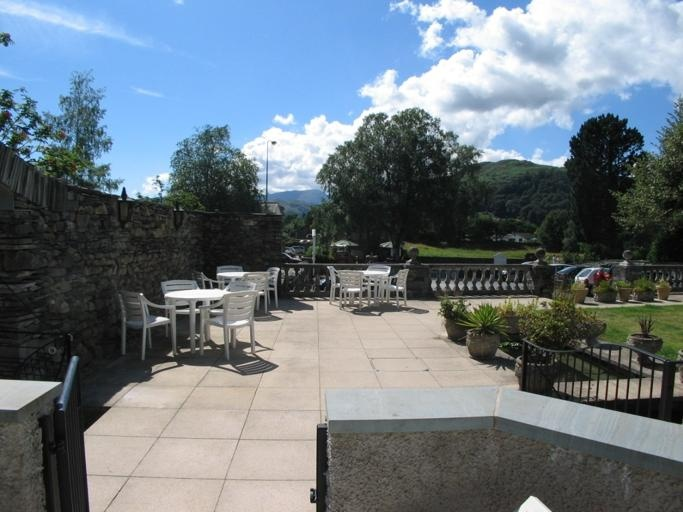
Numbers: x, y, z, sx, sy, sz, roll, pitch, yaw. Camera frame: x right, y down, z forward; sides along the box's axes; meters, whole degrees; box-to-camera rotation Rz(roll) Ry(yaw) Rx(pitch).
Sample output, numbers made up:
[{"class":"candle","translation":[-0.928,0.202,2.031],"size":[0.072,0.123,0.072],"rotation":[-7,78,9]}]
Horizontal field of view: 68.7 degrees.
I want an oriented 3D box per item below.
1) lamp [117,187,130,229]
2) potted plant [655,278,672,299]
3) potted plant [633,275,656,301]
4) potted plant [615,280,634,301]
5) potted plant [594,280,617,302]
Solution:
[{"class":"lamp","translation":[-3.504,-0.772,8.021],"size":[0.160,0.617,0.463],"rotation":[1,4,-21]},{"class":"potted plant","translation":[9.544,1.033,14.808],"size":[0.347,0.515,0.694],"rotation":[5,4,33]},{"class":"potted plant","translation":[8.794,0.921,14.433],"size":[0.591,0.694,0.636],"rotation":[1,9,34]},{"class":"potted plant","translation":[8.086,0.991,14.363],"size":[0.493,0.583,0.533],"rotation":[-1,5,7]},{"class":"potted plant","translation":[7.445,0.939,13.977],"size":[0.538,0.613,0.576],"rotation":[-1,7,3]}]
